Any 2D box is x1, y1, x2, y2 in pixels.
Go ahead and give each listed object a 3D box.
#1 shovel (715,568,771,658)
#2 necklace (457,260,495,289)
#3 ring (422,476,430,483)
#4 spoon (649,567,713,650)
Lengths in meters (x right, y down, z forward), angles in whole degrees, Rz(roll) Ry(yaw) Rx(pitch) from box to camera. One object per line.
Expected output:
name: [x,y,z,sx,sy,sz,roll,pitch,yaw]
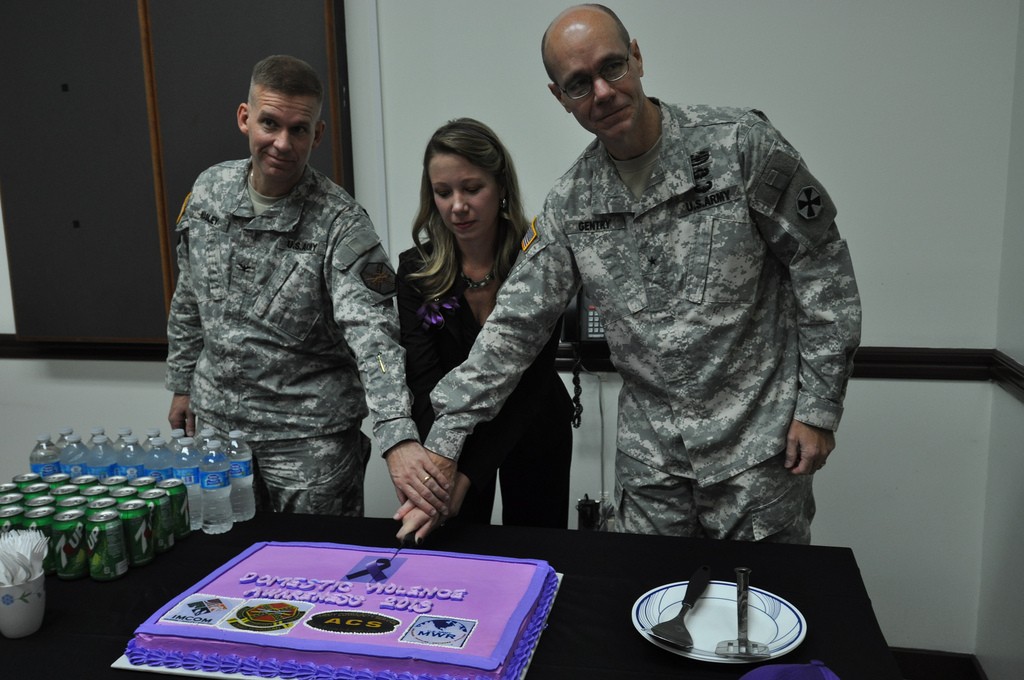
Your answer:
shovel: [0.611,0.727,2.089,0.174,0.222,0.181,-1,-14,8]
necklace: [-0.146,-0.249,3.105,0.090,0.099,0.031,-2,-14,-7]
ring: [-0.273,0.446,2.509,0.020,0.018,0.005,38,18,23]
spoon: [0.479,0.722,2.154,0.109,0.043,0.334,20,23,20]
